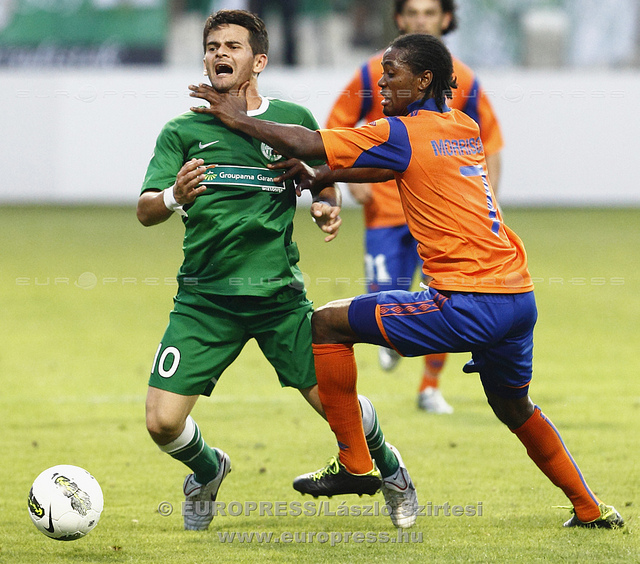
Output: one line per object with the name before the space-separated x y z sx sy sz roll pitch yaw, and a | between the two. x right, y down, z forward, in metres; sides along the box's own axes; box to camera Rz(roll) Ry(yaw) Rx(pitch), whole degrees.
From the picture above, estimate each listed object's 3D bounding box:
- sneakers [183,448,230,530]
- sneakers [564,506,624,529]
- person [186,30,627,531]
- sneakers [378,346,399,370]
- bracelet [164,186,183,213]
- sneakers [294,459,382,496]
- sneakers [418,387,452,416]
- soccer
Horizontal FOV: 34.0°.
sneakers | -0.556 0.968 4.909 0.151 0.374 0.186 18 1 36
sneakers | 1.290 1.099 4.905 0.320 0.106 0.100 2 -2 1
person | 0.460 0.023 4.700 1.738 2.233 0.397 2 10 10
sneakers | 0.486 0.562 7.727 0.171 0.215 0.248 1 9 2
bracelet | -0.649 -0.360 4.606 0.089 0.075 0.083 -29 48 -16
sneakers | 0.075 0.890 4.770 0.436 0.160 0.163 2 -5 3
sneakers | 0.750 0.797 7.093 0.140 0.092 0.262 -4 4 -40
soccer | -1.117 0.999 4.681 0.324 0.275 0.280 0 -2 -18
